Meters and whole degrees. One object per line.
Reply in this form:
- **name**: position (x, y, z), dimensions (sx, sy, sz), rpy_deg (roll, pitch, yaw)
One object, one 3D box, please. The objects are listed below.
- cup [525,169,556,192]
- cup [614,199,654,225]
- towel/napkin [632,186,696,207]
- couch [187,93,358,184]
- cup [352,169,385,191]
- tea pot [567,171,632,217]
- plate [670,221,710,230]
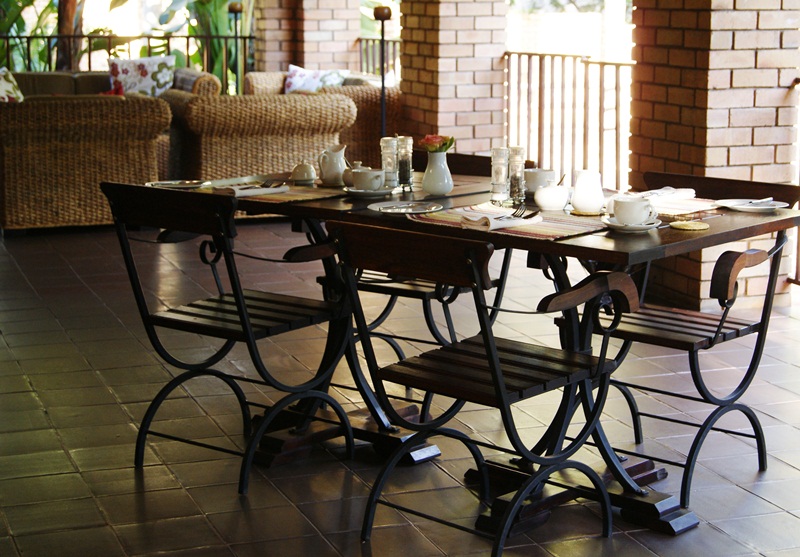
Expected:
- **cup**: position (0.565, -0.399, 2.693), dimensions (0.156, 0.066, 0.114), rpy_deg (-1, 5, 8)
- **cup**: position (0.732, -0.207, 2.094), dimensions (0.126, 0.054, 0.085), rpy_deg (4, 9, 32)
- **towel/napkin**: position (1.007, -0.317, 2.531), dimensions (0.210, 0.046, 0.204), rpy_deg (4, 8, 39)
- **couch**: position (-1.136, -1.179, 5.530), dimensions (1.821, 0.800, 0.990), rpy_deg (-4, 13, -23)
- **cup**: position (-0.125, -0.402, 2.704), dimensions (0.134, 0.057, 0.099), rpy_deg (-2, 7, -9)
- **tea pot**: position (0.728, -0.302, 2.484), dimensions (0.158, 0.143, 0.244), rpy_deg (-1, -1, 43)
- **plate**: position (0.921, -0.165, 2.115), dimensions (0.113, 0.018, 0.077), rpy_deg (2, 12, 15)
